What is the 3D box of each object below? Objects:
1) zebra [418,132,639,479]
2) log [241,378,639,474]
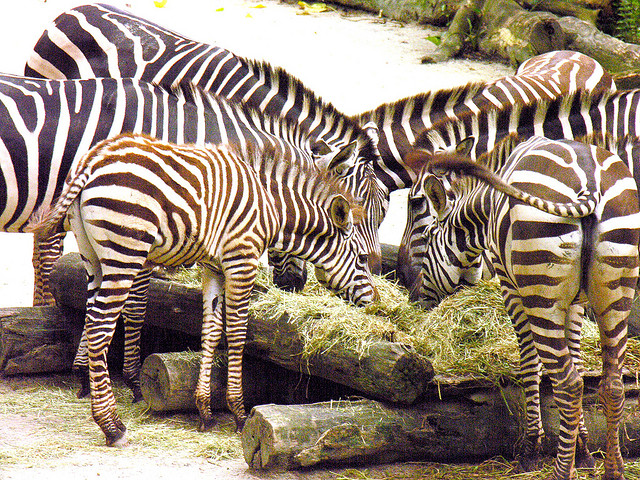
[{"bbox_3d":[1.438,0.424,6.902,1.405,2.315,1.870,3,-3,3],"label":"zebra"},{"bbox_3d":[0.873,1.269,6.471,2.671,0.464,0.454,2,-19,-15],"label":"log"}]
